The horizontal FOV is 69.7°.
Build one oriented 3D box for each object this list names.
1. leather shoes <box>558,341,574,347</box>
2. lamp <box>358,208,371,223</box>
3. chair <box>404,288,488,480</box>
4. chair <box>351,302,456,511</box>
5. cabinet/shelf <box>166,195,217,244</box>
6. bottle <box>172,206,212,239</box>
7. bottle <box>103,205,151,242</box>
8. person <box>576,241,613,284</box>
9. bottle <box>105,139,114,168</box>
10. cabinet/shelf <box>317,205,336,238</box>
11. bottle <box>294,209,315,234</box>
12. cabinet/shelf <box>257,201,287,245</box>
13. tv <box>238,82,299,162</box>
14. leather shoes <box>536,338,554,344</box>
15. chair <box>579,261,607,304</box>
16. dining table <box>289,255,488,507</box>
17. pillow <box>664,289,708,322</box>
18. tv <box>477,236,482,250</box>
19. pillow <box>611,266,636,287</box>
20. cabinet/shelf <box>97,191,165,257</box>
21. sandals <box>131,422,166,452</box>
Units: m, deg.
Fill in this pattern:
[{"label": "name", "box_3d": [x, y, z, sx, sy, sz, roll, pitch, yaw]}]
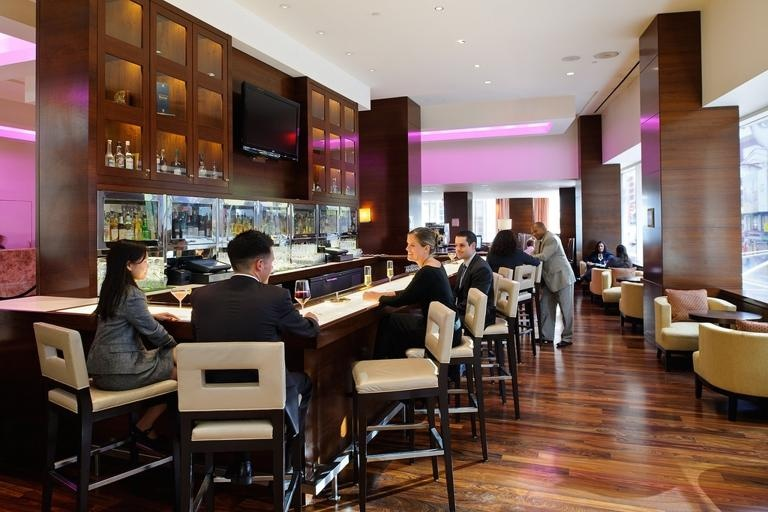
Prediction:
[{"label": "leather shoes", "box_3d": [2.662, 1.277, 8.082, 0.284, 0.073, 0.115, -4, 5, -26]}, {"label": "lamp", "box_3d": [-0.376, -0.823, 11.094, 0.284, 0.281, 0.284, 3, 10, 6]}, {"label": "chair", "box_3d": [0.584, 1.088, 5.403, 0.860, 1.486, 0.809, 0, 2, 6]}, {"label": "chair", "box_3d": [0.167, 1.212, 4.811, 0.864, 1.643, 1.069, -2, 5, -1]}, {"label": "cabinet/shelf", "box_3d": [-2.367, -0.430, 6.609, 0.231, 0.569, 0.676, 5, 5, 26]}, {"label": "bottle", "box_3d": [-2.284, -0.419, 6.528, 0.333, 0.438, 0.641, 1, 0, 14]}, {"label": "bottle", "box_3d": [-2.766, -0.345, 5.887, 0.142, 0.392, 0.436, -6, -5, 30]}, {"label": "person", "box_3d": [4.745, 0.127, 12.340, 0.861, 0.909, 0.623, -1, -3, -29]}, {"label": "bottle", "box_3d": [-2.900, -1.092, 5.843, 0.052, 0.293, 0.150, -2, 5, 3]}, {"label": "cabinet/shelf", "box_3d": [-0.918, -0.590, 9.052, 0.138, 0.482, 0.761, -1, 5, 11]}, {"label": "bottle", "box_3d": [-1.226, -0.540, 8.436, 0.143, 0.375, 0.410, -2, 1, 22]}, {"label": "cabinet/shelf", "box_3d": [-1.609, -0.450, 8.025, 0.424, 0.719, 0.409, -4, -13, -20]}, {"label": "tv", "box_3d": [-1.633, -1.875, 7.906, 0.145, 0.910, 1.312, 4, 3, 25]}, {"label": "leather shoes", "box_3d": [2.410, 1.275, 8.238, 0.282, 0.110, 0.095, -1, 2, 11]}, {"label": "chair", "box_3d": [4.221, 0.560, 11.509, 0.657, 0.847, 0.739, 3, 7, 20]}, {"label": "dining table", "box_3d": [0.212, 1.386, 6.010, 1.889, 3.245, 1.678, 1, -2, -8]}, {"label": "pillow", "box_3d": [3.957, 0.655, 7.204, 0.415, 0.324, 0.185, -1, 0, 5]}, {"label": "tv", "box_3d": [2.563, -0.361, 14.803, 0.066, 0.619, 0.460, 0, -2, 18]}, {"label": "pillow", "box_3d": [4.489, 0.387, 10.419, 0.329, 0.417, 0.386, 8, 14, 37]}, {"label": "cabinet/shelf", "box_3d": [-2.837, -0.365, 6.049, 0.258, 0.716, 0.762, 3, 3, 33]}, {"label": "sandals", "box_3d": [-2.040, 1.580, 4.809, 0.374, 0.147, 0.133, 33, -9, -41]}]
